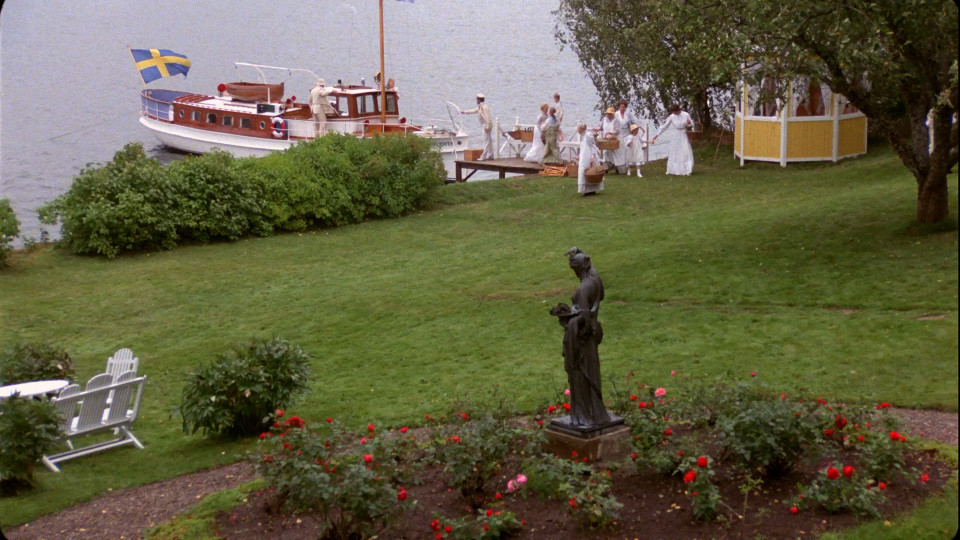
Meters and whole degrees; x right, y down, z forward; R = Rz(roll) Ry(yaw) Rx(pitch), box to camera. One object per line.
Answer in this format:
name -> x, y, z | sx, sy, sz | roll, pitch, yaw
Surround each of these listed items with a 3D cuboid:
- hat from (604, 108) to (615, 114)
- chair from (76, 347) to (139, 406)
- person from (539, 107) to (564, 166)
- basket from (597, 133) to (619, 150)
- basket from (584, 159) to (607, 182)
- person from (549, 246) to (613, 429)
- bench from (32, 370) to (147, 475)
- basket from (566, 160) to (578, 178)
hat -> 5.479, -6.683, 33.066 | 0.567, 0.213, 0.569 | 1, 6, 8
chair -> -8.909, 2.603, 19.325 | 1.151, 1.271, 1.569 | 2, 16, -20
person -> 3.170, -6.121, 35.909 | 0.921, 2.559, 1.012 | -4, 11, 7
basket -> 5.183, -5.283, 32.449 | 0.962, 0.654, 0.700 | 2, 6, 17
basket -> 4.452, -3.670, 30.053 | 0.880, 0.605, 0.799 | -11, 31, 1
person -> 1.978, 1.357, 15.476 | 1.013, 3.459, 0.987 | -4, 11, 9
bench -> -8.901, 3.296, 17.614 | 1.219, 1.733, 2.321 | 9, 8, 26
basket -> 4.058, -4.438, 34.816 | 0.728, 0.526, 0.717 | 0, 3, -1
